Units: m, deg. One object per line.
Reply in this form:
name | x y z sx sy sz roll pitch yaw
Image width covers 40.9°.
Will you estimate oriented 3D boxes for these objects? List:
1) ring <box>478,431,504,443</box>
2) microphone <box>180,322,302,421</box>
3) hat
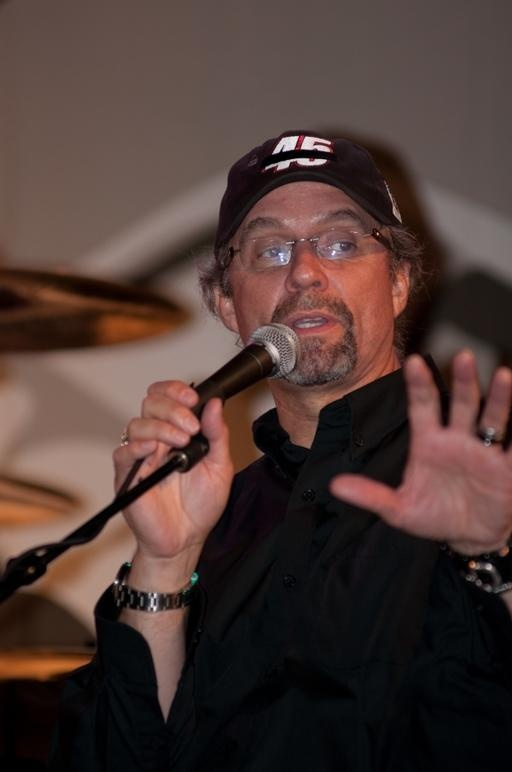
ring | 0.326 0.070 0.954 0.025 0.008 0.024 16 -20 6
microphone | -0.058 -0.007 1.295 0.319 0.080 0.096 -11 -9 -21
hat | 0.139 -0.616 2.111 0.507 0.304 0.627 -6 0 -3
